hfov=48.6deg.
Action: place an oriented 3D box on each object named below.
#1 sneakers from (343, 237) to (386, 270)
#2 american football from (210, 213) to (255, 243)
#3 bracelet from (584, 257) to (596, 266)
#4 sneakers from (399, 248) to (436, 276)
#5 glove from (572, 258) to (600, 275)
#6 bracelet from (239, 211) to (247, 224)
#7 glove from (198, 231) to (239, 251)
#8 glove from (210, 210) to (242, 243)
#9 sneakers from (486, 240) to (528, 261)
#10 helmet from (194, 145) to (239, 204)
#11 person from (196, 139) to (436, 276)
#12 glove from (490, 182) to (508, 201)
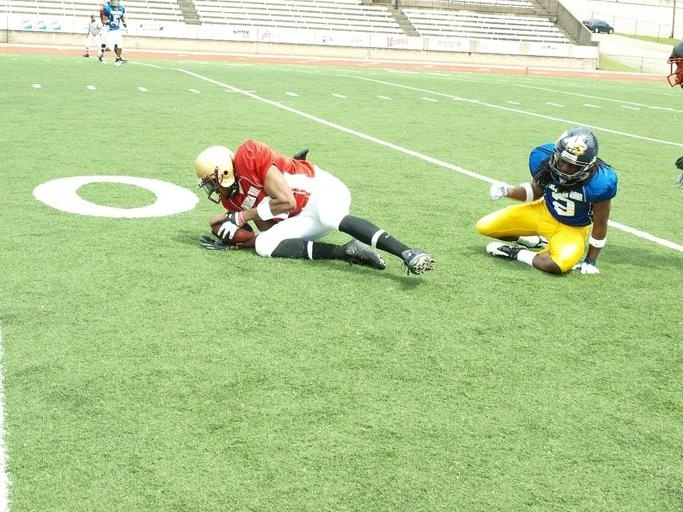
[{"bbox_3d":[0.145,0.012,5.023,0.291,0.149,0.131,32,61,14],"label":"sneakers"},{"bbox_3d":[-0.751,-0.178,5.225,0.273,0.085,0.180,-7,39,-16],"label":"american football"},{"bbox_3d":[1.712,0.046,5.203,0.072,0.057,0.049,6,13,1],"label":"bracelet"},{"bbox_3d":[0.477,0.044,4.716,0.155,0.082,0.201,0,12,-34],"label":"sneakers"},{"bbox_3d":[1.701,0.068,5.239,0.141,0.053,0.139,0,11,30],"label":"glove"},{"bbox_3d":[-0.661,-0.247,5.113,0.077,0.072,0.054,-2,50,-1],"label":"bracelet"},{"bbox_3d":[-0.853,-0.072,5.311,0.208,0.110,0.065,-12,-12,4],"label":"glove"},{"bbox_3d":[-0.774,-0.197,5.186,0.206,0.210,0.073,53,31,5],"label":"glove"},{"bbox_3d":[1.160,-0.036,5.429,0.310,0.092,0.133,11,5,18],"label":"sneakers"},{"bbox_3d":[-0.833,-0.513,5.066,0.255,0.395,0.217,-1,22,-9],"label":"helmet"},{"bbox_3d":[-0.177,-0.350,5.206,1.606,0.615,0.829,11,-14,-2],"label":"person"},{"bbox_3d":[1.078,-0.437,5.210,0.106,0.072,0.120,-6,62,7],"label":"glove"}]
